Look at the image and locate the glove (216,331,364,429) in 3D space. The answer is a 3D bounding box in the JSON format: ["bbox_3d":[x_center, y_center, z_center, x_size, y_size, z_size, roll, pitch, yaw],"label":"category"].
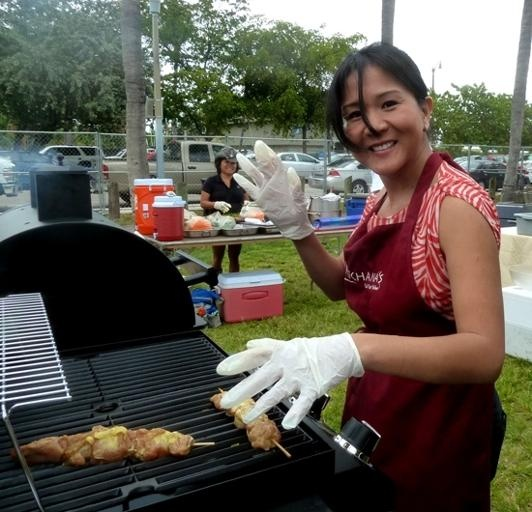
[{"bbox_3d":[0.073,0.298,1.129,0.311,0.234,0.123,-31,-17,9],"label":"glove"}]

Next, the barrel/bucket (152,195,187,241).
[{"bbox_3d":[-1.049,-0.412,4.679,0.321,0.499,0.310,-1,11,0],"label":"barrel/bucket"}]

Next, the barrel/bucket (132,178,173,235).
[{"bbox_3d":[-1.191,-0.609,5.117,0.642,0.725,0.591,0,14,0],"label":"barrel/bucket"}]

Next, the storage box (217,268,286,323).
[{"bbox_3d":[-0.253,0.511,5.522,0.910,0.579,0.569,-4,7,-36],"label":"storage box"}]
